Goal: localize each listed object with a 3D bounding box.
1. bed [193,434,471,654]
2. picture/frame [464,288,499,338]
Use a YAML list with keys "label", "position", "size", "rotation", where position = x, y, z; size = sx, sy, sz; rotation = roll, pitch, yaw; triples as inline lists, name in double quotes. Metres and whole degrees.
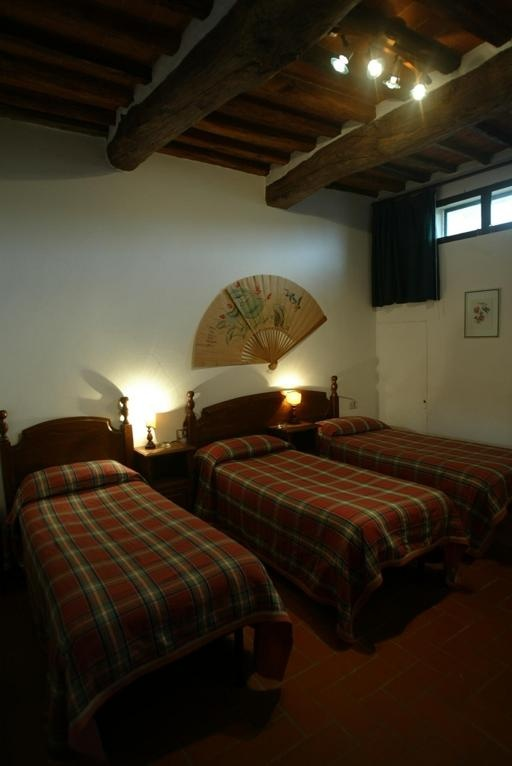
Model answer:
- label: "bed"
  position: [0.356, 0.982, 3.640]
  size: [0.853, 0.554, 1.473]
  rotation: [-6, 8, -30]
- label: "picture/frame"
  position: [2.183, -0.676, 5.051]
  size: [0.024, 0.640, 0.475]
  rotation: [4, -3, -29]
